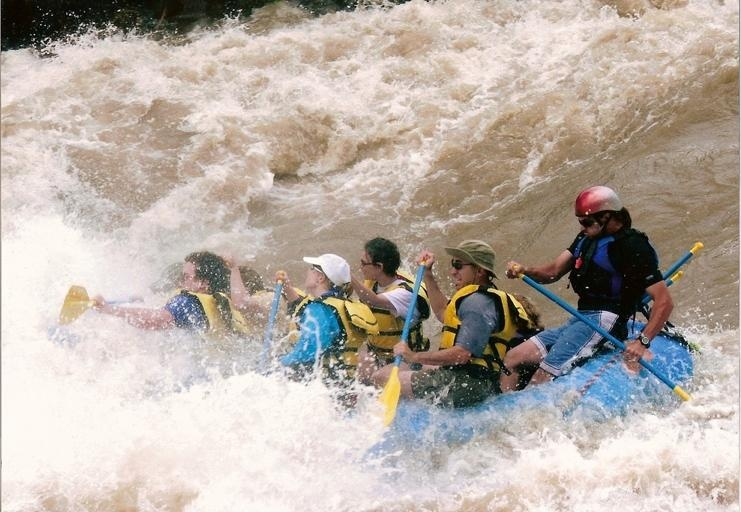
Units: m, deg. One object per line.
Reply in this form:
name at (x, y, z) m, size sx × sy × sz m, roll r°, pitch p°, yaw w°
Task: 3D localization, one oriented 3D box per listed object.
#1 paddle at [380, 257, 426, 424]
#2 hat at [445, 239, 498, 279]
paddle at (0.437, 1.192, 13.268) m, size 0.229 × 0.154 × 2.264 m, roll 16°, pitch 83°, yaw 9°
hat at (1.363, -0.020, 13.054) m, size 0.534 × 0.482 × 0.208 m, roll 30°, pitch 88°, yaw -2°
